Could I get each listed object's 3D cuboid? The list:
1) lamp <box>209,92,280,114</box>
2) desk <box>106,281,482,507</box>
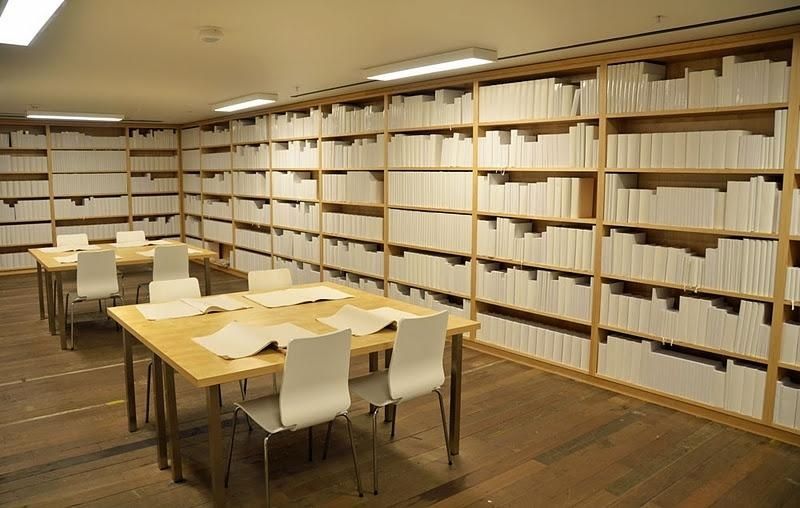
[{"bbox_3d":[-2.385,-2.400,7.942,0.392,0.175,1.390,-10,15,-41],"label":"lamp"},{"bbox_3d":[-0.865,1.081,4.274,2.090,0.981,2.023,-4,8,-39],"label":"desk"}]
